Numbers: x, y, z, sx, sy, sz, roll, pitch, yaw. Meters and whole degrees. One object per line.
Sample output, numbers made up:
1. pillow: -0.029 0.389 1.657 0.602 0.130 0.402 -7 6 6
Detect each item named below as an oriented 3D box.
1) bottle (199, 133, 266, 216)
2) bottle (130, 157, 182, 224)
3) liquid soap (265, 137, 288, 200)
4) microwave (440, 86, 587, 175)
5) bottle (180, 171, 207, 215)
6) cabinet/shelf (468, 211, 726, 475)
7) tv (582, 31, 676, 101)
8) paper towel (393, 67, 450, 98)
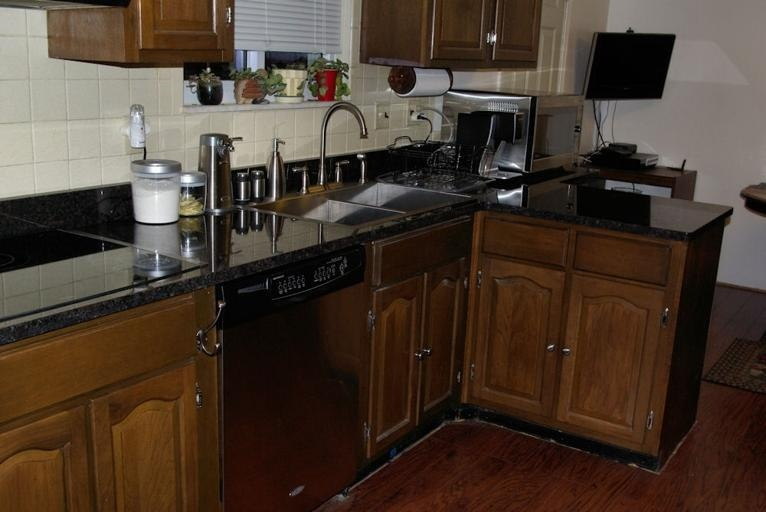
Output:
1. bottle: -0.698 -0.360 2.536 0.163 0.317 0.137 -5 21 -17
2. bottle: -0.915 -0.253 2.389 0.191 0.210 0.195 7 15 2
3. liquid soap: -0.504 -0.413 2.791 0.090 0.268 0.165 -3 20 -11
4. microwave: 0.872 -0.767 3.791 0.819 0.480 0.635 -13 15 -37
5. bottle: -0.790 -0.256 2.518 0.142 0.154 0.143 8 12 42
6. cabinet/shelf: 1.118 0.406 3.213 1.184 1.115 0.752 7 1 42
7. tv: 2.050 -1.606 4.963 0.917 0.673 0.120 0 22 -10
8. paper towel: 0.218 -1.008 3.407 0.376 0.165 0.213 1 20 0
